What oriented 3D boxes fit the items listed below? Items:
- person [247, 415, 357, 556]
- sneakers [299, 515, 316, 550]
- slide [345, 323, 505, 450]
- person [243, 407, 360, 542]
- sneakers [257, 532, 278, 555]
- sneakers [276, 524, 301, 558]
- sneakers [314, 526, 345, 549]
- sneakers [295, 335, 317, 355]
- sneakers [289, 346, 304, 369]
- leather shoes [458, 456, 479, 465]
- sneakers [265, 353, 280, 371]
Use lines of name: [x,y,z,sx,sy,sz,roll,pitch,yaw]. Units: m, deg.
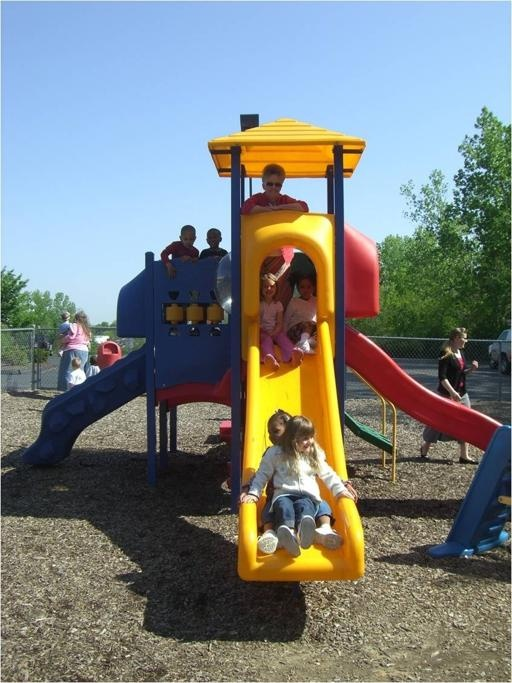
person: [0.244,0.786,3.701,0.546,0.457,0.757,-2,11,-3]
sneakers: [0.274,1.025,3.465,0.082,0.183,0.079,2,9,-1]
slide: [3.052,0.714,11.413,3.179,1.154,0.510,34,24,-1]
person: [0.234,0.763,3.720,0.529,0.444,0.759,-1,15,-3]
sneakers: [0.061,1.062,3.399,0.085,0.134,0.057,-4,11,-7]
sneakers: [0.167,1.048,3.444,0.088,0.200,0.086,-21,2,13]
sneakers: [0.393,1.060,3.534,0.085,0.064,0.192,2,6,-37]
sneakers: [0.402,0.031,5.105,0.116,0.101,0.185,3,10,9]
sneakers: [0.296,0.120,4.833,0.079,0.142,0.064,4,13,5]
leather shoes: [2.427,1.359,7.383,0.259,0.096,0.084,0,5,-6]
sneakers: [0.106,0.156,4.733,0.122,0.104,0.093,-6,-1,20]
